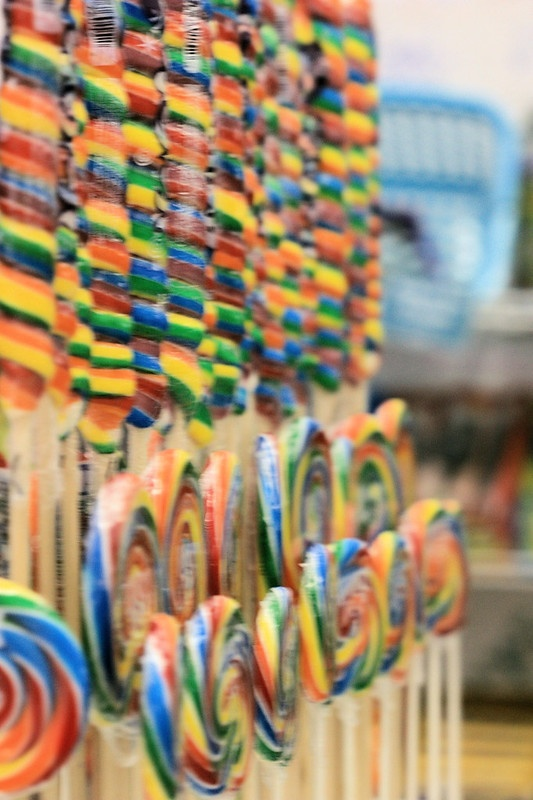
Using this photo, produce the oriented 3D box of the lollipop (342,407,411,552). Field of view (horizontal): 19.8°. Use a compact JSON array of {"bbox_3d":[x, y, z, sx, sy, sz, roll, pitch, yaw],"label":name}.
[{"bbox_3d":[0.146,0.087,1.841,0.043,0.136,0.112,0,14,8],"label":"lollipop"}]
